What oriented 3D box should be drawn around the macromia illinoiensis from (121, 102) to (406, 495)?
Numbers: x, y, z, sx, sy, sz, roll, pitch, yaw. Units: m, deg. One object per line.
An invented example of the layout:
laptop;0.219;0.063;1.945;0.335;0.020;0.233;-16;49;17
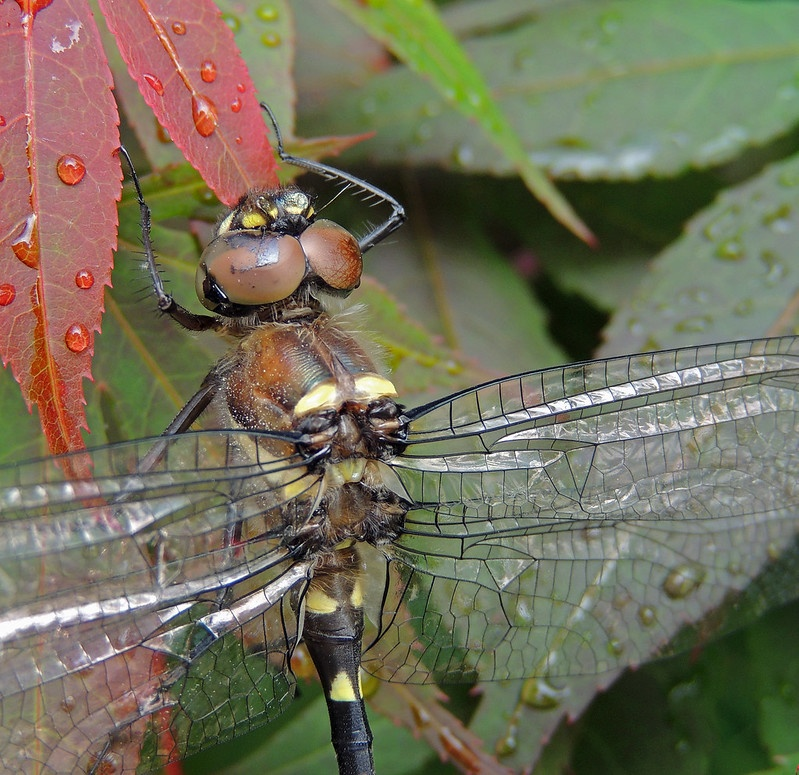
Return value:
macromia illinoiensis;-0.128;-0.090;0.917;0.329;0.320;0.110;-10;16;-14
